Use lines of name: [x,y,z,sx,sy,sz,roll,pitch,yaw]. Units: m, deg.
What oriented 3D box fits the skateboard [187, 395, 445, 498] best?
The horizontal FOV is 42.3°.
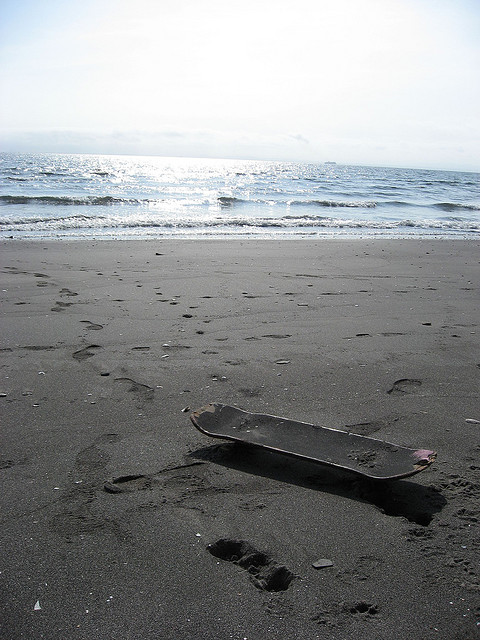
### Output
skateboard: [0.241,0.503,2.696,1.130,0.241,0.410,9,14,30]
